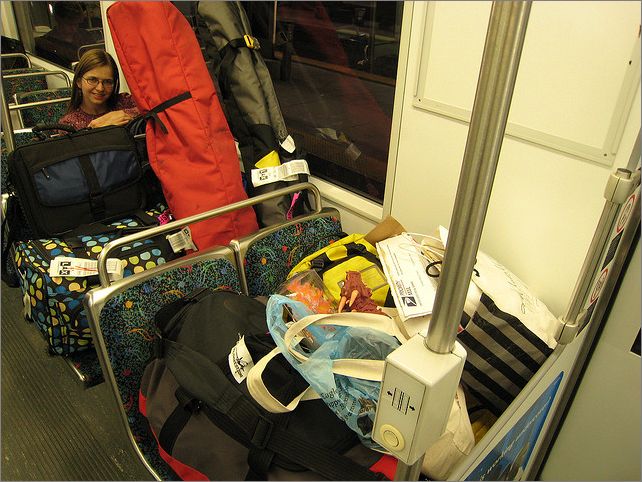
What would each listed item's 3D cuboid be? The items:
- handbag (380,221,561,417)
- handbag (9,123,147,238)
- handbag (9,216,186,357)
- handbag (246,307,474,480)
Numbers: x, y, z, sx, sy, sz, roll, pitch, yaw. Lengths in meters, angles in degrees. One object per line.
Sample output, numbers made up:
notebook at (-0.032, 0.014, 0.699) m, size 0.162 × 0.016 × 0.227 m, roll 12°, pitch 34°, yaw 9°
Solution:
handbag at (0.603, 0.273, 1.784) m, size 0.648 × 0.293 × 0.824 m, roll 31°, pitch 16°, yaw 29°
handbag at (-1.147, -0.271, 2.175) m, size 0.208 × 0.422 × 0.432 m, roll 14°, pitch 31°, yaw 42°
handbag at (-1.052, 0.168, 2.355) m, size 0.802 × 0.565 × 0.605 m, roll -17°, pitch 47°, yaw -41°
handbag at (0.082, 0.403, 1.154) m, size 0.443 × 0.284 × 0.432 m, roll 28°, pitch 16°, yaw 23°
